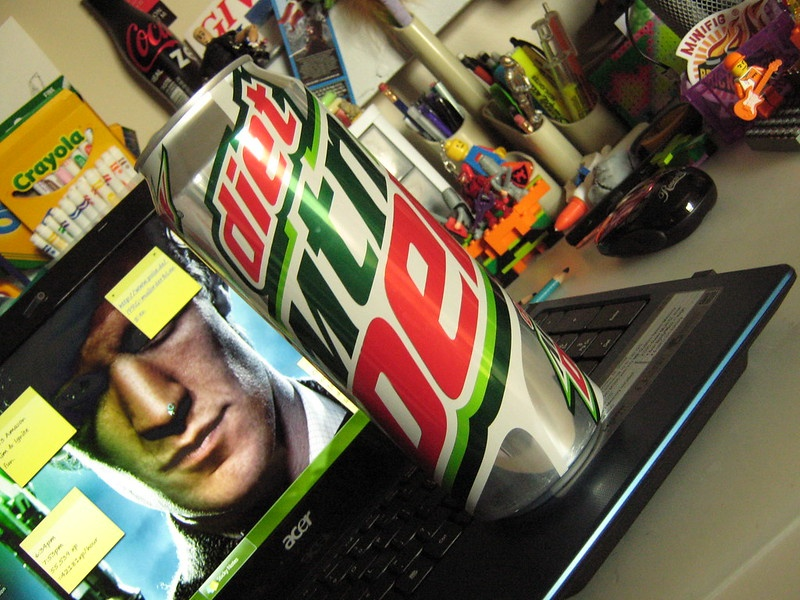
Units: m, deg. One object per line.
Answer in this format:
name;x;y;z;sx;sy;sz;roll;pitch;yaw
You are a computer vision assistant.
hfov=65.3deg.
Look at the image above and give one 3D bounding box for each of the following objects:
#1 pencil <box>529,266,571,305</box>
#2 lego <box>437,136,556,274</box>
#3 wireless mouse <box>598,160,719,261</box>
pencil;0.231;-0.021;0.946;0.068;0.010;0.012;-47;53;3
lego;0.161;-0.152;1.012;0.191;0.191;0.061;-49;-1;10
wireless mouse;0.329;-0.119;0.813;0.165;0.055;0.124;-16;32;46
